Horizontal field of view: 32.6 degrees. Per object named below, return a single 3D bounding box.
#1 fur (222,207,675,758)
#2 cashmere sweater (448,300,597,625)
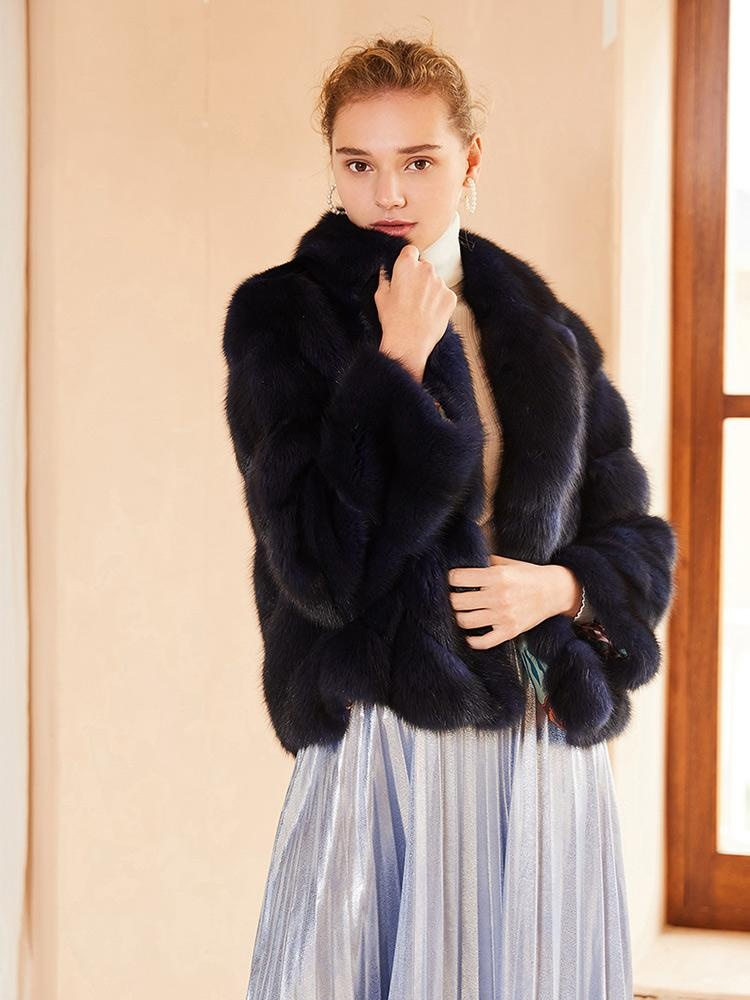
[{"bbox_3d":[0.131,-0.032,1.953,0.707,0.830,0.282,4,-7,-23],"label":"fur"},{"bbox_3d":[0.203,-0.001,1.984,0.341,0.392,0.152,7,-13,-16],"label":"cashmere sweater"}]
